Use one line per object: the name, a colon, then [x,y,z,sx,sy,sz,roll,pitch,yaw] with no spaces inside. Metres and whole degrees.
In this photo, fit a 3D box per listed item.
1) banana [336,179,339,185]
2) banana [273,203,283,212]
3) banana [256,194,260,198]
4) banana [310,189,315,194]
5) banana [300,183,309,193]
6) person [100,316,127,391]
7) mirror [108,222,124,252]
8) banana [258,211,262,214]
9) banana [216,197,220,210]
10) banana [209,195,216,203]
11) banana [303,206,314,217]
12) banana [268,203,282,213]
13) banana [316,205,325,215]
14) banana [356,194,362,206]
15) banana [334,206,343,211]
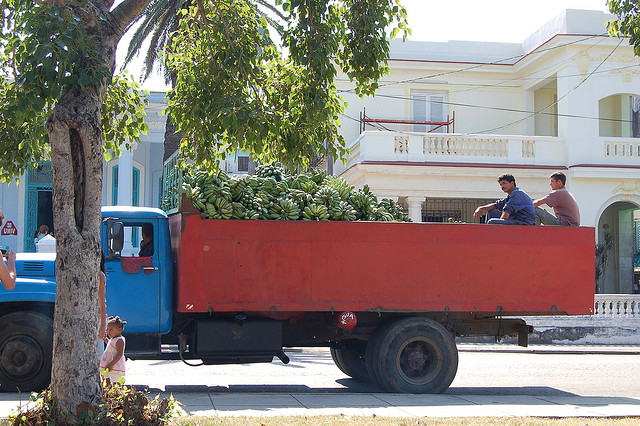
banana: [0.394,-0.732,19.413,0.093,0.089,0.050,0,0,-8]
banana: [-0.888,-0.112,17.979,0.110,0.191,0.049,-20,-20,-31]
banana: [-1.337,-0.369,18.334,0.031,0.058,0.135,44,-8,-30]
banana: [-0.162,-0.476,18.656,0.070,0.099,0.030,5,5,4]
banana: [-0.345,-0.559,18.736,0.104,0.276,0.062,-20,-31,-34]
person: [-3.925,2.601,16.135,0.459,1.237,1.216,1,-5,-14]
mirror: [-4.269,0.490,17.772,0.321,0.620,0.183,0,-5,-4]
banana: [-1.267,-0.005,17.944,0.055,0.054,0.013,-1,-12,-8]
banana: [-2.129,-0.217,17.861,0.034,0.142,0.084,5,-11,24]
banana: [-2.259,-0.294,17.972,0.058,0.186,0.066,50,-6,-35]
banana: [-0.247,-0.027,18.079,0.140,0.204,0.062,-30,-10,-19]
banana: [-0.949,-0.091,17.996,0.213,0.205,0.081,2,0,-3]
banana: [0.011,-0.074,18.132,0.077,0.286,0.069,33,-31,26]
banana: [0.861,-0.303,18.796,0.166,0.148,0.040,25,14,32]
banana: [0.397,-0.096,18.242,0.175,0.050,0.040,30,10,25]
